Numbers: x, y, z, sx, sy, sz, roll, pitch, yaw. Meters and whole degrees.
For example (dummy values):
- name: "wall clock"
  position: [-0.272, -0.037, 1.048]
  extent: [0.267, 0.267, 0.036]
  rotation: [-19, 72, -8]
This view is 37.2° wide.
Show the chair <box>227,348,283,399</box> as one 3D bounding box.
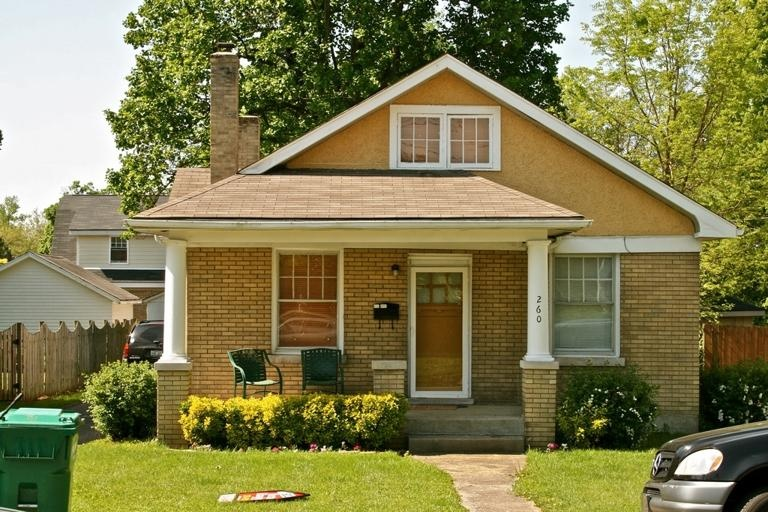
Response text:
- name: "chair"
  position: [-3.493, 3.151, 29.747]
  extent: [1.482, 1.747, 1.339]
  rotation: [3, -10, -33]

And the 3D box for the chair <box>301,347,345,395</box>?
- name: "chair"
  position: [-1.609, 2.993, 29.831]
  extent: [1.119, 1.211, 0.980]
  rotation: [2, -10, -6]
